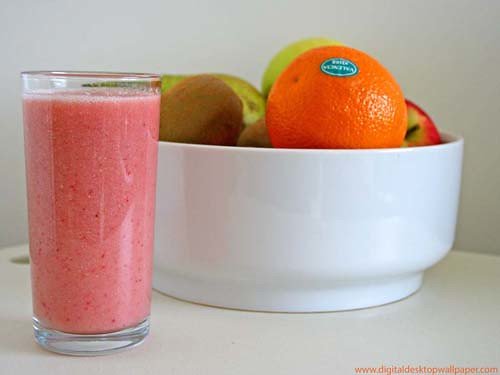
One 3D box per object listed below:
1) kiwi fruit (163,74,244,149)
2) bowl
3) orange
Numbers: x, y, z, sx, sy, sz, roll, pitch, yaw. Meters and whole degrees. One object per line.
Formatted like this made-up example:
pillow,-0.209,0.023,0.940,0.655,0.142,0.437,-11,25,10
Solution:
kiwi fruit,-0.072,-0.105,0.676,0.081,0.100,0.094,11,15,35
bowl,0.074,0.019,0.777,0.479,0.217,0.492,1,10,0
orange,0.101,-0.101,0.561,0.165,0.122,0.067,7,16,12
